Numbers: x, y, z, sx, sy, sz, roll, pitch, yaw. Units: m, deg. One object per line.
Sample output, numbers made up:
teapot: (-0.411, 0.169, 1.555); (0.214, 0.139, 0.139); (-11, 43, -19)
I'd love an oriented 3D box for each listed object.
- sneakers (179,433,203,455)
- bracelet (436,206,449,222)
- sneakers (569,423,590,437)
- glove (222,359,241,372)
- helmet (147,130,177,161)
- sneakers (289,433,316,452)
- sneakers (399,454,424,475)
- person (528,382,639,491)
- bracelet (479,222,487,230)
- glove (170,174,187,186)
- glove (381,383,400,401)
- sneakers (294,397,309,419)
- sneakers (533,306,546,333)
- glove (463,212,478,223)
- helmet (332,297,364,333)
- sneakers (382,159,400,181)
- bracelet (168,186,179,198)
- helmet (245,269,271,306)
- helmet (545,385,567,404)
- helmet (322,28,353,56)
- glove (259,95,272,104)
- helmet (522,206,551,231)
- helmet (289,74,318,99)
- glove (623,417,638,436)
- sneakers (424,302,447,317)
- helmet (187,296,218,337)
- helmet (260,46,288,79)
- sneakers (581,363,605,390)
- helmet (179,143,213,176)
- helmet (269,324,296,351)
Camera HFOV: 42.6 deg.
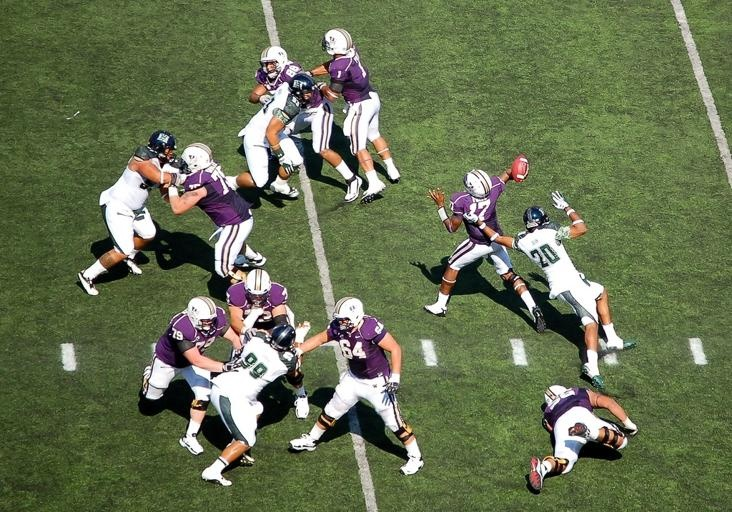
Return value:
sneakers: (-2.621, 2.888, 14.283); (0.459, 0.200, 0.209); (34, 55, 13)
bracelet: (1.268, -0.698, 15.572); (0.174, 0.063, 0.199); (-3, 78, -7)
sneakers: (3.186, 2.637, 14.046); (0.302, 0.260, 0.144); (2, 53, -2)
glove: (-1.935, 1.615, 13.745); (0.273, 0.151, 0.166); (-5, 53, -8)
helmet: (-3.204, -1.831, 15.308); (0.523, 0.452, 0.410); (17, 15, -17)
sneakers: (-0.948, 2.876, 14.392); (0.508, 0.228, 0.190); (-2, 61, -14)
sneakers: (0.706, 3.208, 14.289); (0.420, 0.266, 0.209); (-8, 66, 15)
person: (3.263, 2.680, 14.439); (1.537, 0.857, 2.681); (-22, 8, 16)
bracelet: (1.875, -0.486, 15.237); (0.099, 0.119, 0.066); (-9, 40, 14)
glove: (-2.990, -1.242, 15.188); (0.272, 0.219, 0.165); (8, 53, 2)
glove: (0.412, 2.042, 13.995); (0.281, 0.325, 0.273); (1, 83, -17)
sneakers: (-0.988, 2.407, 14.792); (0.214, 0.145, 0.325); (-5, 89, -3)
sneakers: (2.828, 1.058, 15.539); (0.191, 0.466, 0.218); (-17, 16, -3)
glove: (1.696, -0.599, 15.263); (0.199, 0.078, 0.182); (-16, 47, -2)
helmet: (-0.232, 0.853, 13.769); (0.530, 0.443, 0.398); (-11, 17, -14)
sneakers: (0.474, -1.575, 17.132); (0.181, 0.223, 0.557); (-30, 45, 6)
bracelet: (-3.075, -1.020, 15.148); (0.167, 0.074, 0.205); (4, 39, 5)
helmet: (-1.638, 0.452, 14.487); (0.448, 0.458, 0.501); (-5, 44, -10)
helmet: (2.920, 2.164, 14.618); (0.279, 0.306, 0.294); (3, 51, 27)
helmet: (-0.473, -3.796, 16.727); (0.577, 0.449, 0.385); (14, 71, 3)
glove: (-1.766, -2.807, 16.723); (0.211, 0.082, 0.188); (-1, 49, 12)
helmet: (2.726, -0.629, 15.367); (0.450, 0.337, 0.331); (-27, 18, -22)
helmet: (-1.049, -2.954, 16.174); (0.484, 0.365, 0.326); (-3, 60, -4)
glove: (4.092, 2.700, 14.655); (0.118, 0.133, 0.332); (-33, 60, 2)
sneakers: (1.190, 0.924, 15.869); (0.390, 0.239, 0.169); (19, 34, -4)
helmet: (-2.351, 0.849, 13.931); (0.408, 0.452, 0.529); (-19, 41, -38)
helmet: (-1.636, -3.555, 16.894); (0.448, 0.493, 0.538); (10, 34, 31)
sneakers: (3.615, 1.973, 15.169); (0.239, 0.239, 0.525); (-44, 91, 6)
helmet: (-2.664, -1.567, 15.090); (0.560, 0.431, 0.387); (6, 30, 9)
helmet: (-1.170, 1.182, 13.756); (0.419, 0.338, 0.294); (-34, 96, -13)
